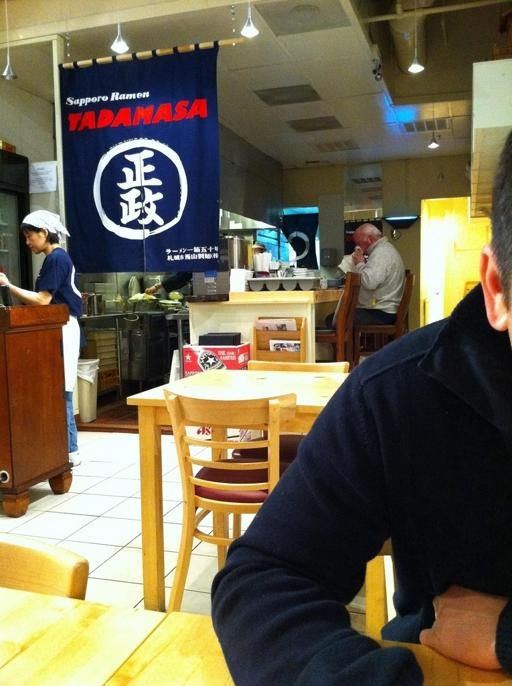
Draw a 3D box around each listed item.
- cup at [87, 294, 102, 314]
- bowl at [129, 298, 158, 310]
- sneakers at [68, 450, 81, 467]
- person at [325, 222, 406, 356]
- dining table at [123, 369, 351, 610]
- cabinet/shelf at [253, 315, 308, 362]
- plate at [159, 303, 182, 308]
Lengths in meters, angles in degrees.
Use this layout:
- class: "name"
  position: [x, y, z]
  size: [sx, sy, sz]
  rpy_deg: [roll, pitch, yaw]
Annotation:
- class: "cup"
  position: [-1.795, -0.433, 6.239]
  size: [0.166, 0.217, 0.423]
  rpy_deg: [-3, 6, -16]
- class: "bowl"
  position: [-1.407, -0.482, 7.036]
  size: [0.252, 0.101, 0.178]
  rpy_deg: [0, 4, -12]
- class: "sneakers"
  position: [-1.229, 0.804, 3.885]
  size: [0.076, 0.086, 0.222]
  rpy_deg: [0, -10, -6]
- class: "person"
  position: [1.300, -0.593, 6.571]
  size: [0.849, 1.485, 0.698]
  rpy_deg: [4, 16, 7]
- class: "dining table"
  position: [-0.028, 0.380, 2.384]
  size: [0.814, 0.953, 1.042]
  rpy_deg: [0, 3, 4]
- class: "cabinet/shelf"
  position: [0.198, -0.046, 4.213]
  size: [0.341, 0.312, 0.121]
  rpy_deg: [3, 6, 25]
- class: "plate"
  position: [-1.086, -0.486, 7.152]
  size: [0.272, 0.104, 0.105]
  rpy_deg: [-3, 6, -10]
